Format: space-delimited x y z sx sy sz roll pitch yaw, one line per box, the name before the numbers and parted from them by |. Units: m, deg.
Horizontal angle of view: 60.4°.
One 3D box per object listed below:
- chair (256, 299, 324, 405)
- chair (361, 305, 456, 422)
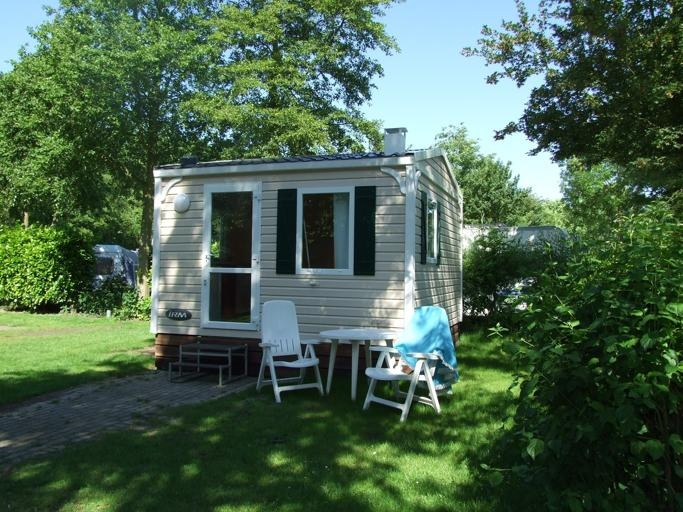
chair | -0.805 1.387 8.883 0.960 1.414 0.931 -5 -6 42
chair | 0.873 1.440 8.382 1.310 1.689 1.416 7 -7 -38
